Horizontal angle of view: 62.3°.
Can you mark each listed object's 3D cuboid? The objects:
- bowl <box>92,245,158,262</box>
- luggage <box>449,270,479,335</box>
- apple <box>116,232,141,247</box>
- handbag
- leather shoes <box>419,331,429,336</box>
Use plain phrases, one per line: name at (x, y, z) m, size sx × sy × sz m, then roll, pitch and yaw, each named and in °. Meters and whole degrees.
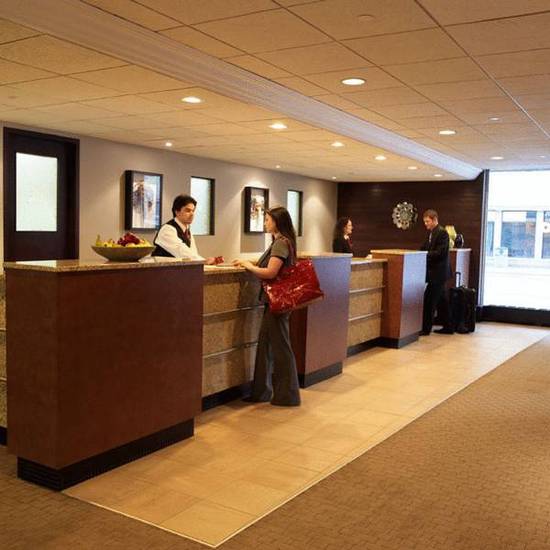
bowl at (-0.943, -0.127, 2.819) m, size 0.336 × 0.109 × 0.273 m, roll 1°, pitch 1°, yaw -23°
luggage at (3.621, 0.573, 8.770) m, size 0.574 × 1.818 × 1.019 m, roll -1°, pitch 4°, yaw 23°
apple at (-0.938, -0.212, 2.876) m, size 0.092 × 0.056 × 0.117 m, roll -4°, pitch 1°, yaw -36°
handbag at (0.161, 0.095, 4.002) m, size 0.525 × 0.469 × 0.175 m, roll 1°, pitch 1°, yaw -23°
leather shoes at (2.606, 1.032, 7.923) m, size 0.113 × 0.042 × 0.088 m, roll 0°, pitch 5°, yaw 3°
